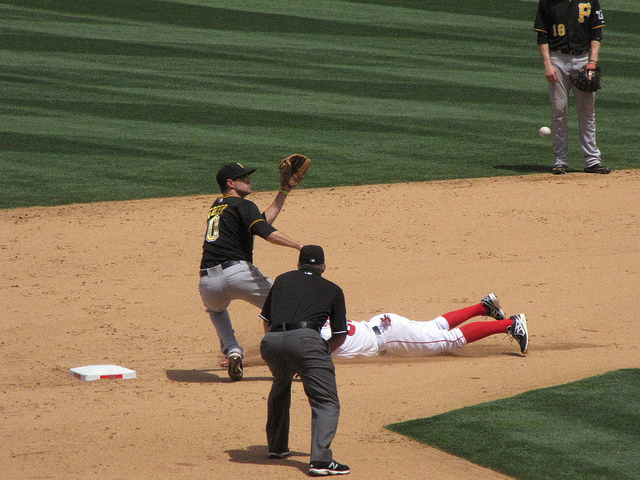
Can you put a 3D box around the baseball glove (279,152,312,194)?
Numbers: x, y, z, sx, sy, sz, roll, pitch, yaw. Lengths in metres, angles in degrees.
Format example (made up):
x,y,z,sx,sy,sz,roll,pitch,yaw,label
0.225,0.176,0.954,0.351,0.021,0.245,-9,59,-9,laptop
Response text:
x,y,z,sx,sy,sz,roll,pitch,yaw,label
-0.289,-0.877,16.570,0.398,0.514,0.235,43,9,21,baseball glove

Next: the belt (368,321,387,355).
x,y,z,sx,sy,sz,roll,pitch,yaw,label
0.818,1.318,16.640,0.121,0.392,0.205,6,7,40,belt

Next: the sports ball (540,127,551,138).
x,y,z,sx,sy,sz,roll,pitch,yaw,label
4.054,-1.934,22.447,0.211,0.148,0.176,0,6,11,sports ball

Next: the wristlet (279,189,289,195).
x,y,z,sx,sy,sz,roll,pitch,yaw,label
-0.463,-0.635,16.407,0.093,0.065,0.068,0,5,-8,wristlet

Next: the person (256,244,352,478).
x,y,z,sx,sy,sz,roll,pitch,yaw,label
-0.123,1.369,14.497,1.078,2.587,0.619,5,7,36,person

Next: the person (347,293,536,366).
x,y,z,sx,sy,sz,roll,pitch,yaw,label
1.590,1.169,16.635,2.062,0.529,1.058,-11,26,-4,person

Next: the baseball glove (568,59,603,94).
x,y,z,sx,sy,sz,roll,pitch,yaw,label
4.576,-2.784,21.095,0.521,0.551,0.302,24,-35,0,baseball glove

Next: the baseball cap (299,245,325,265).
x,y,z,sx,sy,sz,roll,pitch,yaw,label
-0.093,0.166,14.692,0.279,0.207,0.177,1,5,-2,baseball cap

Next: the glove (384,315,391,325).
x,y,z,sx,sy,sz,roll,pitch,yaw,label
0.908,1.026,16.540,0.046,0.098,0.086,-23,-11,6,glove

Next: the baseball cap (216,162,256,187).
x,y,z,sx,sy,sz,roll,pitch,yaw,label
-1.116,-0.869,16.267,0.518,0.212,0.287,-15,6,-3,baseball cap
